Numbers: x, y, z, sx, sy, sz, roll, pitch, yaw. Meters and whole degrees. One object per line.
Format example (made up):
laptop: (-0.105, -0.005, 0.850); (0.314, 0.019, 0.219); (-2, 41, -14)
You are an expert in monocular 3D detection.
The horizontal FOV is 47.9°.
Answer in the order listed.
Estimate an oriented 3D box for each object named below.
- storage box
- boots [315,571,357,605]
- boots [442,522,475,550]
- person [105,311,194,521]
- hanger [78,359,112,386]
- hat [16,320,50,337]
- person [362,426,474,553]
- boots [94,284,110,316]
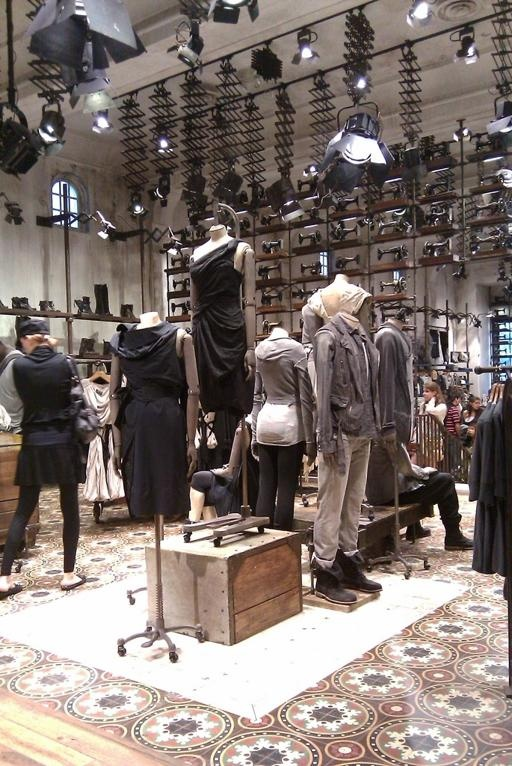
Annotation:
storage box: (-0.127, 0.974, 2.828); (0.466, 0.411, 0.637); (-4, -5, 32)
boots: (0.403, 1.093, 3.077); (0.103, 0.190, 0.270); (3, -10, -42)
boots: (1.527, 1.164, 4.372); (0.237, 0.231, 0.120); (-4, -1, -2)
person: (-0.509, 0.146, 2.711); (0.480, 0.963, 0.268); (-3, -5, 31)
hanger: (-1.992, -0.138, 7.174); (0.273, 0.266, 0.401); (-2, 3, -35)
hat: (-1.461, -0.360, 3.803); (0.162, 0.131, 0.126); (-8, 4, -8)
person: (1.215, 0.684, 4.419); (0.597, 1.065, 0.567); (-2, -5, -9)
boots: (-2.503, -1.359, 9.376); (0.184, 0.531, 0.318); (1, -4, -24)
